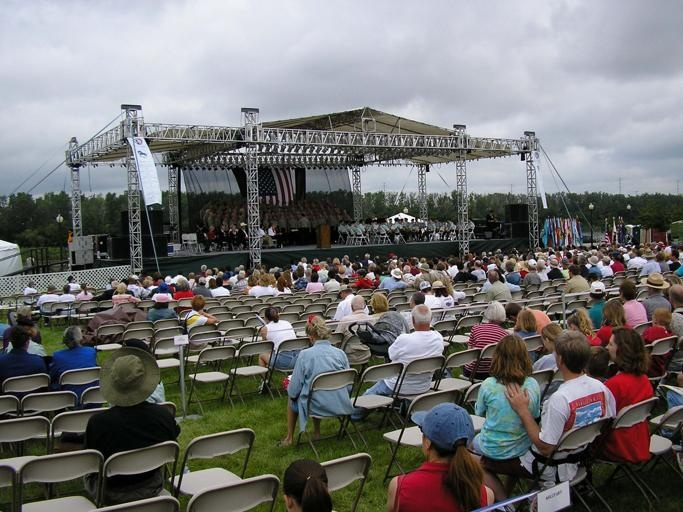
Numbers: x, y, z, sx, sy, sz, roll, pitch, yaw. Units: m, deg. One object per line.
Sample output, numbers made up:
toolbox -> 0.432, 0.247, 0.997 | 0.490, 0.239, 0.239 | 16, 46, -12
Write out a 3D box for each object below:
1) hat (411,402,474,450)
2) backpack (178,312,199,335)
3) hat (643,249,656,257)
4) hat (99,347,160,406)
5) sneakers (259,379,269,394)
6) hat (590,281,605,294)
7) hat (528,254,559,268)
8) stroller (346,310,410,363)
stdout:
hat -> 0.698, 1.203, 4.608 | 0.229, 0.199, 0.348 | 2, 15, -25
backpack -> -2.374, 1.055, 10.070 | 0.274, 0.312, 0.165 | 1, 12, -2
hat -> 7.681, -0.071, 16.123 | 0.351, 0.129, 0.341 | -5, 1, -39
hat -> -1.811, 1.039, 5.545 | 0.509, 0.494, 0.455 | -4, 1, 7
sneakers -> -1.089, 1.823, 9.002 | 0.083, 0.187, 0.251 | 3, 5, -11
hat -> 3.608, 0.449, 9.090 | 0.216, 0.150, 0.357 | 0, 6, 18
hat -> 4.795, 0.133, 15.452 | 0.779, 0.435, 0.184 | 0, 18, -29
stroller -> 0.508, 0.914, 8.356 | 0.511, 0.781, 0.382 | 9, 16, -11
